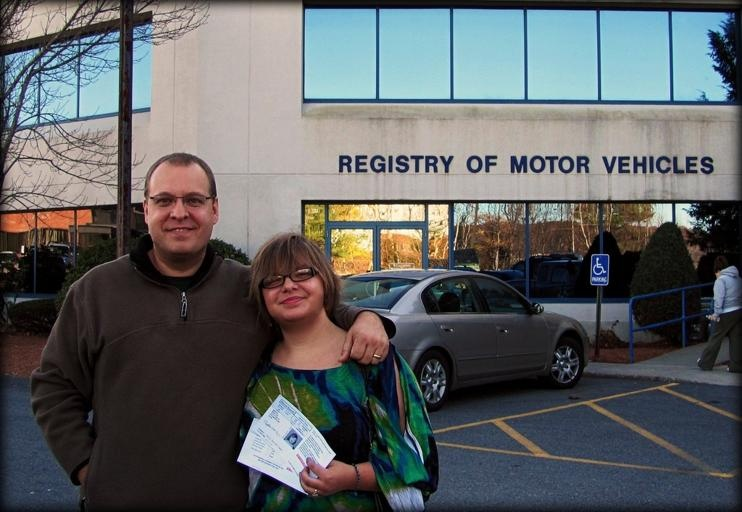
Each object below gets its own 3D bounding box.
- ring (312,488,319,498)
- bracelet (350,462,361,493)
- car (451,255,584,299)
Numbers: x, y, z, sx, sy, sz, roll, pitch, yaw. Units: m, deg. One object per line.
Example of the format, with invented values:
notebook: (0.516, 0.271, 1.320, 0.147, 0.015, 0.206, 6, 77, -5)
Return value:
ring: (-0.316, 1.341, 3.470, 0.061, 0.044, 0.022, 2, 2, -3)
bracelet: (-0.081, 1.269, 3.530, 0.031, 0.114, 0.082, -3, 3, -24)
car: (4.019, 0.539, 17.061, 3.364, 1.258, 1.506, -5, 4, -11)
